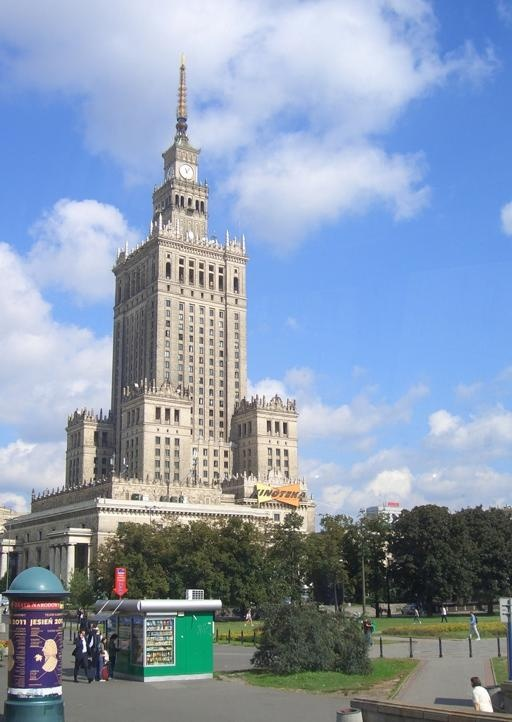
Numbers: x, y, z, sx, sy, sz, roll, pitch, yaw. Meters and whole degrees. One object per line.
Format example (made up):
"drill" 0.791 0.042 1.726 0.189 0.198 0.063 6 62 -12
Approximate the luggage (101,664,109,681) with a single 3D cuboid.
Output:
"luggage" -5.661 11.728 40.680 0.280 0.397 0.099 14 -17 -43
